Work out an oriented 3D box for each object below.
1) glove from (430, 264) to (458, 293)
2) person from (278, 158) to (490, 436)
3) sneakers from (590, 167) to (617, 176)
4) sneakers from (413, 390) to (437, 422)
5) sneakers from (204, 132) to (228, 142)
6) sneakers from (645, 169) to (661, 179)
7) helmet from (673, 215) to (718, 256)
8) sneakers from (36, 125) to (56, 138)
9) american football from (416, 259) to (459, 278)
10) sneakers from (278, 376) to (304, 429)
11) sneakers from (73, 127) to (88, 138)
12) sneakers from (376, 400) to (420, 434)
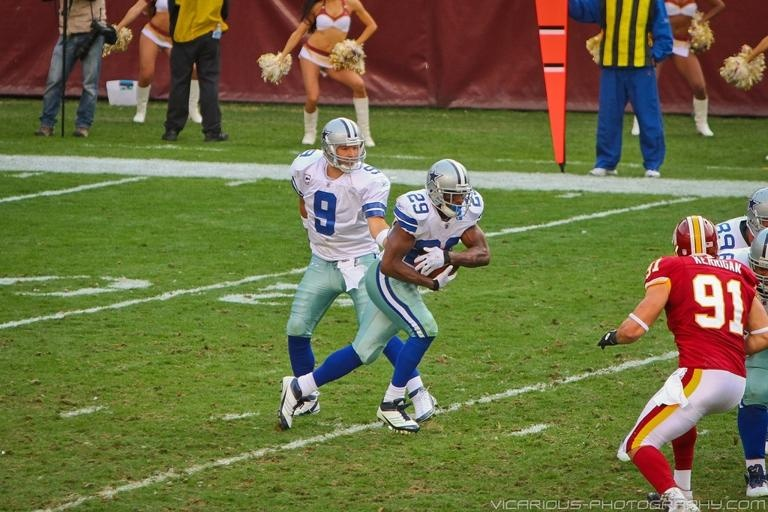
[{"bbox_3d":[0.410,0.147,8.267,0.221,0.115,0.086,-41,4,-16],"label":"glove"},{"bbox_3d":[0.047,0.257,8.234,1.316,1.813,0.410,1,7,3],"label":"person"},{"bbox_3d":[2.428,-0.921,13.333,0.315,0.113,0.103,-1,38,-7],"label":"sneakers"},{"bbox_3d":[0.282,1.020,8.263,0.098,0.117,0.275,-40,5,8],"label":"sneakers"},{"bbox_3d":[-2.148,-1.503,15.129,0.339,0.125,0.107,-8,40,-17],"label":"sneakers"},{"bbox_3d":[2.952,-0.890,13.116,0.137,0.051,0.084,16,-8,39],"label":"sneakers"},{"bbox_3d":[1.999,-0.086,7.706,0.333,0.330,0.387,-3,3,14],"label":"helmet"},{"bbox_3d":[-4.274,-1.545,15.012,0.134,0.089,0.292,-16,4,11],"label":"sneakers"},{"bbox_3d":[0.383,0.094,8.207,0.179,0.057,0.137,-17,-2,18],"label":"american football"},{"bbox_3d":[-0.641,0.986,8.182,0.204,0.353,0.125,0,-17,5],"label":"sneakers"},{"bbox_3d":[-3.825,-1.524,14.963,0.087,0.088,0.218,-6,5,-1],"label":"sneakers"},{"bbox_3d":[0.103,1.073,8.206,0.147,0.183,0.409,-2,13,-38],"label":"sneakers"}]
